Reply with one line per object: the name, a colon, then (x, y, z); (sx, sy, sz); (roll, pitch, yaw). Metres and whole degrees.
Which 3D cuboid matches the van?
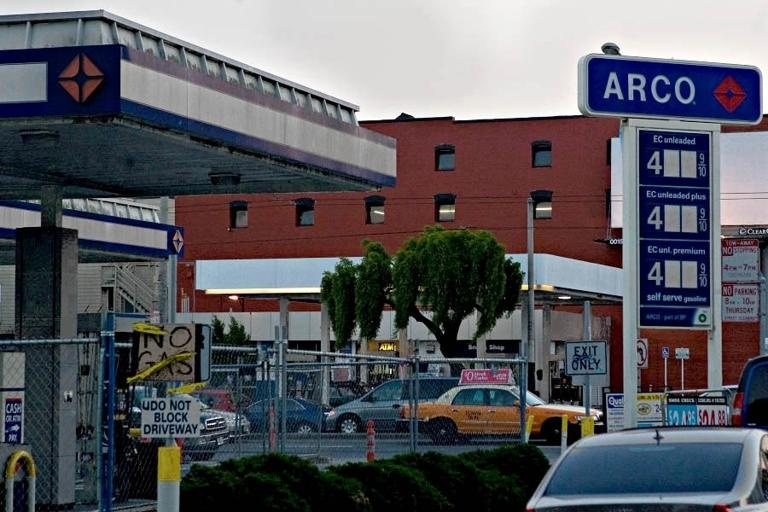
van: (0.188, 3.484, 43.216); (2.971, 1.513, 4.774); (-2, -10, 5)
